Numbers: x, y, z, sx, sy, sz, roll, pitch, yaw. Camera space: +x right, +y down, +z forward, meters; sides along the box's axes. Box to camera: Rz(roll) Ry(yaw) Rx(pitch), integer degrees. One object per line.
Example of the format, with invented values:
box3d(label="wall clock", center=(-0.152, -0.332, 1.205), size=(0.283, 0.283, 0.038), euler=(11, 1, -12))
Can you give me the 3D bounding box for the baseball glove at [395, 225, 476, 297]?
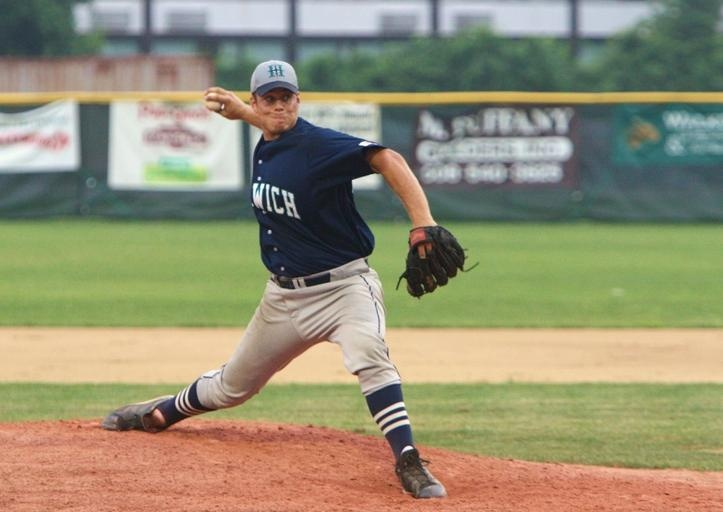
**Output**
box3d(label="baseball glove", center=(0.657, 0.061, 13.823), size=(0.654, 0.675, 0.393), euler=(-6, -9, 25))
